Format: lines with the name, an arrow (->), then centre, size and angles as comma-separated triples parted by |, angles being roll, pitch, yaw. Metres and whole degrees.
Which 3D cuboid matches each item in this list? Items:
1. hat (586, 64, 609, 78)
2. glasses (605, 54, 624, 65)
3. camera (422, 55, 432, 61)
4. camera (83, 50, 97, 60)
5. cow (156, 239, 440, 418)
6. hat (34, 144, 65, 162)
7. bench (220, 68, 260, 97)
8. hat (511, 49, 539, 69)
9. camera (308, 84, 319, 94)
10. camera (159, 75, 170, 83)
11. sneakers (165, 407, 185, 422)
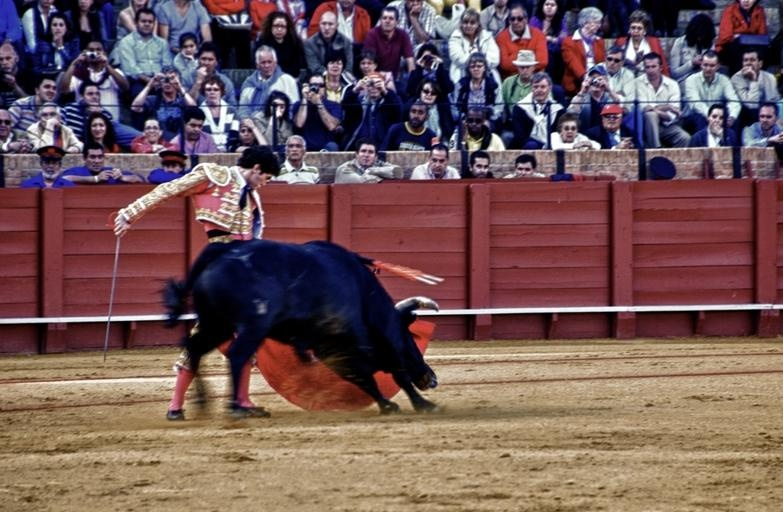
hat -> 2.287, -2.014, 15.303 | 0.290, 0.129, 0.149 | -2, 6, -13
glasses -> 2.443, -2.125, 15.269 | 0.196, 0.049, 0.167 | 1, 0, 1
camera -> 0.399, -2.131, 15.176 | 0.108, 0.069, 0.021 | -1, -2, -8
camera -> -3.182, -2.109, 14.800 | 0.104, 0.117, 0.152 | 0, -2, -35
cow -> -0.627, 0.593, 11.068 | 0.794, 1.312, 3.017 | -12, -11, 43
hat -> -3.441, -1.023, 14.162 | 0.273, 0.153, 0.177 | -1, -2, -11
bench -> -1.648, -1.869, 15.291 | 0.623, 0.191, 0.646 | -1, 0, -5
hat -> 1.468, -2.125, 15.279 | 0.364, 0.115, 0.350 | 0, 1, 7
camera -> -0.798, -1.746, 14.752 | 0.110, 0.094, 0.090 | -1, -2, -6
camera -> -2.372, -1.834, 14.664 | 0.103, 0.071, 0.028 | -3, -12, 2
sneakers -> -1.669, 1.238, 10.855 | 0.140, 0.057, 0.209 | 0, -5, -11
